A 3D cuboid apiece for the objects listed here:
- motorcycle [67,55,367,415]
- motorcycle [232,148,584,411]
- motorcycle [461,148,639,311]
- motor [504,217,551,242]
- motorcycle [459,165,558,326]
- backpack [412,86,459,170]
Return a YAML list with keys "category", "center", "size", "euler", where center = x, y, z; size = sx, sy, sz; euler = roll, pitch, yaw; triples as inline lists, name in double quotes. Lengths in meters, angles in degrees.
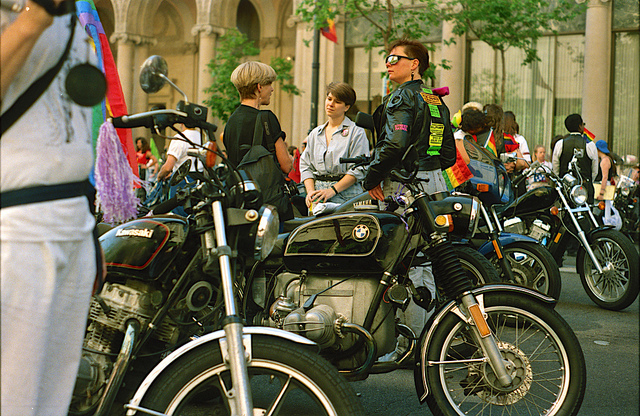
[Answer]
- category: "motorcycle"
  center: [-0.870, 0.263, 5.887]
  size: [1.732, 2.710, 1.523]
  euler: [-2, 4, -12]
- category: "motorcycle"
  center: [0.521, 0.656, 6.854]
  size: [2.898, 2.003, 1.493]
  euler: [5, 0, 17]
- category: "motorcycle"
  center: [2.824, 0.265, 9.679]
  size: [2.371, 1.665, 1.244]
  euler: [0, 6, 26]
- category: "motor"
  center: [2.263, 0.221, 9.453]
  size: [0.457, 0.336, 0.286]
  euler: [4, 25, 7]
- category: "motorcycle"
  center: [1.890, 0.205, 8.690]
  size: [1.582, 1.170, 0.971]
  euler: [2, 5, 13]
- category: "backpack"
  center: [0.935, -0.676, 7.487]
  size: [0.636, 0.714, 0.345]
  euler: [-3, 8, -23]
